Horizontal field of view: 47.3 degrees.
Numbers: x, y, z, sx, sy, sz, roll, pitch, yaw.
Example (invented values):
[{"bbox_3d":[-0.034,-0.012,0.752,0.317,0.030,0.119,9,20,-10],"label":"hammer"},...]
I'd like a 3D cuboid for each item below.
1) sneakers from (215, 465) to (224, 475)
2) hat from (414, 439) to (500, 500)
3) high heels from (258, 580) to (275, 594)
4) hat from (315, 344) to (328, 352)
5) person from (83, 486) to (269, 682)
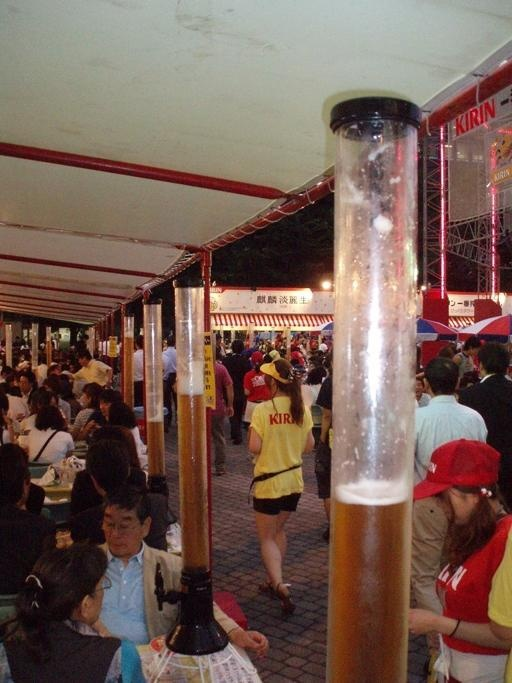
[{"bbox_3d":[-0.568,2.076,9.377,0.163,0.148,0.093,-3,1,2],"label":"sneakers"},{"bbox_3d":[0.772,0.486,2.328,0.432,0.200,0.250,-9,-4,2],"label":"hat"},{"bbox_3d":[0.084,2.095,4.985,0.081,0.083,0.227,2,1,-10],"label":"high heels"},{"bbox_3d":[2.516,0.224,22.203,0.259,0.321,0.334,-2,-19,7],"label":"hat"},{"bbox_3d":[-0.495,1.157,3.089,0.866,0.870,0.824,-5,-2,32],"label":"person"}]
